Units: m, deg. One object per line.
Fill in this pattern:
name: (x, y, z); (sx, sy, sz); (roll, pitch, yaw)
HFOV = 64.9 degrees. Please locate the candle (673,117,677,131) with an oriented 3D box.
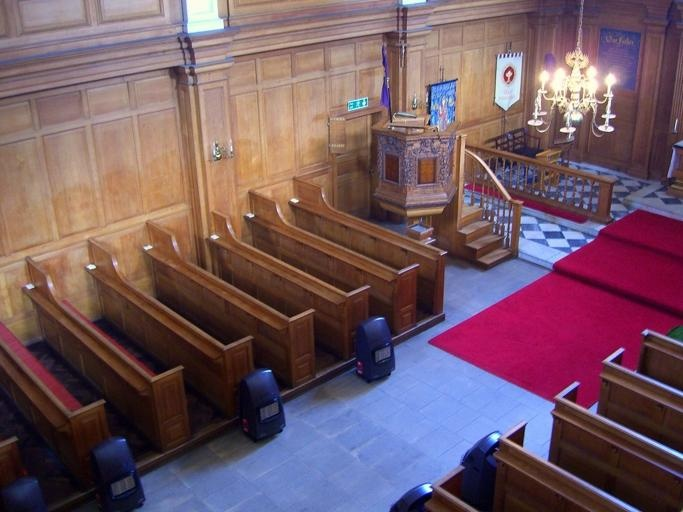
candle: (7.847, -3.068, 12.572); (0.083, 0.290, 0.050); (7, 23, 19)

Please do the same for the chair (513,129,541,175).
chair: (4.826, -2.970, 13.914); (0.735, 0.516, 1.335); (8, 24, 19)
